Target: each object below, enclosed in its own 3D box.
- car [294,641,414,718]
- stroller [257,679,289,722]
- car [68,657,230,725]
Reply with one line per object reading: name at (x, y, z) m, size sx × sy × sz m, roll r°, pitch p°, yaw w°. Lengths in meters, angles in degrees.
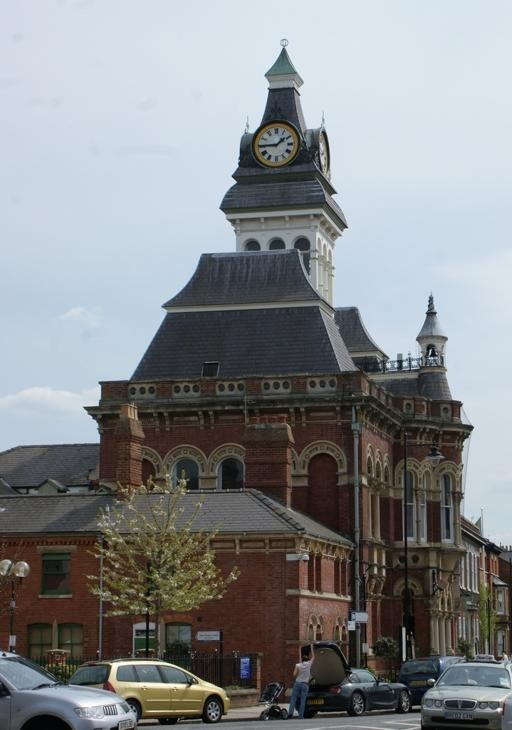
car at (2.288, 7.421, 38.930) m, size 1.259 × 1.240 × 2.722 m, roll -5°, pitch -10°, yaw 35°
stroller at (0.392, 7.275, 35.852) m, size 0.556 × 0.884 × 1.470 m, roll 1°, pitch -15°, yaw 1°
car at (-2.084, 6.628, 33.614) m, size 2.810 × 1.107 × 1.509 m, roll 8°, pitch -11°, yaw -42°
